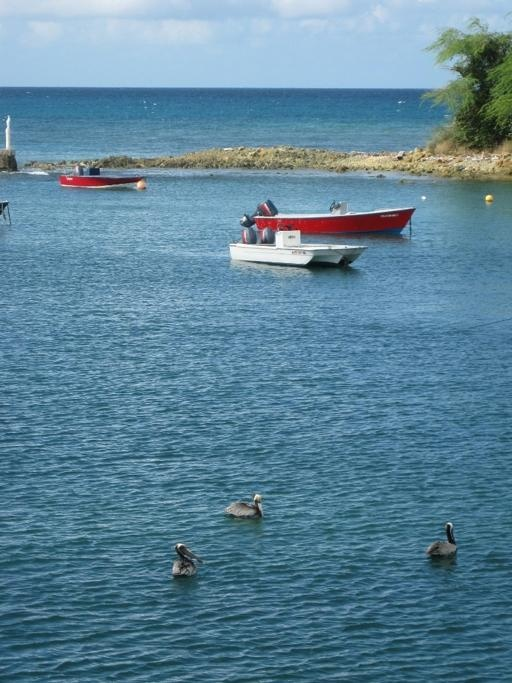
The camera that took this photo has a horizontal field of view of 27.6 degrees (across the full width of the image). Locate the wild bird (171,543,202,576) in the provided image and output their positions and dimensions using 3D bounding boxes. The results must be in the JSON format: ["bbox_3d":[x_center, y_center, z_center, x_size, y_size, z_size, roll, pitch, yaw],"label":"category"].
[{"bbox_3d":[-1.256,3.984,18.942,0.763,0.619,0.420,3,0,6],"label":"wild bird"}]

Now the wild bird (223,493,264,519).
[{"bbox_3d":[-0.228,3.358,21.186,0.766,0.512,0.429,6,5,8],"label":"wild bird"}]
